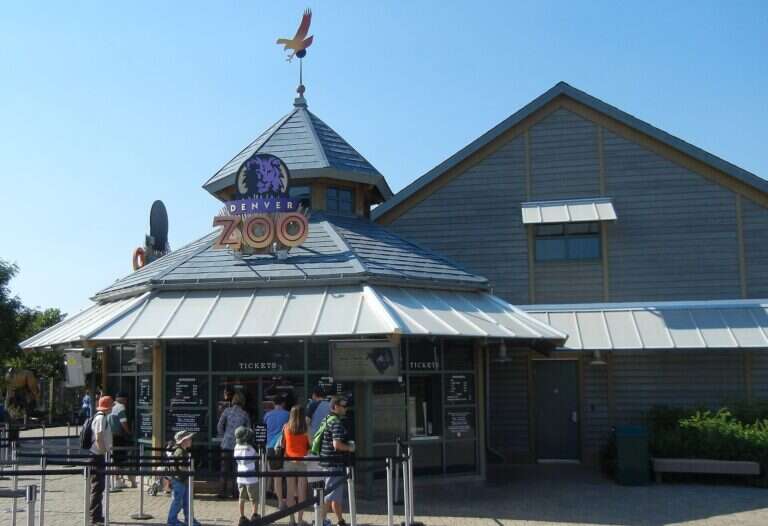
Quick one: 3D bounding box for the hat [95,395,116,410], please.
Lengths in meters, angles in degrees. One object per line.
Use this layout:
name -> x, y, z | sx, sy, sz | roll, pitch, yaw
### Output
hat -> -7.412, 3.743, 24.553 | 0.538, 0.303, 0.588 | -2, -7, 6

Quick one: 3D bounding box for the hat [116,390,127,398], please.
hat -> -7.687, 3.895, 27.023 | 0.245, 0.173, 0.315 | 5, 11, -1

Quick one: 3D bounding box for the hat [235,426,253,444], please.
hat -> -3.694, 4.495, 24.043 | 0.392, 0.458, 0.654 | 3, -15, -9
